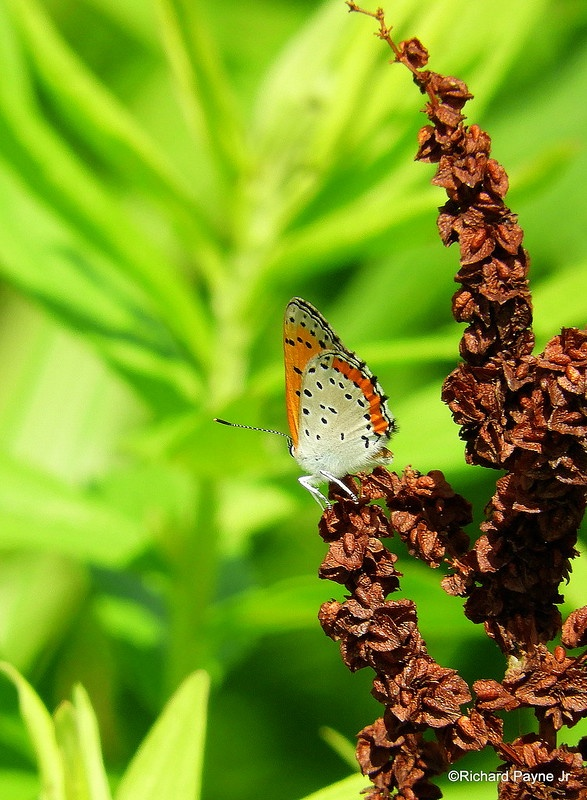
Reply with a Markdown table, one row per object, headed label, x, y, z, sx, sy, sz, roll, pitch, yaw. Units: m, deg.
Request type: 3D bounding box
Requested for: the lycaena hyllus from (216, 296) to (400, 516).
| label | x | y | z | sx | sy | sz | roll | pitch | yaw |
| --- | --- | --- | --- | --- | --- | --- | --- | --- | --- |
| lycaena hyllus | 0.020 | 0.010 | 0.910 | 0.184 | 0.171 | 0.173 | -6 | -17 | 17 |
